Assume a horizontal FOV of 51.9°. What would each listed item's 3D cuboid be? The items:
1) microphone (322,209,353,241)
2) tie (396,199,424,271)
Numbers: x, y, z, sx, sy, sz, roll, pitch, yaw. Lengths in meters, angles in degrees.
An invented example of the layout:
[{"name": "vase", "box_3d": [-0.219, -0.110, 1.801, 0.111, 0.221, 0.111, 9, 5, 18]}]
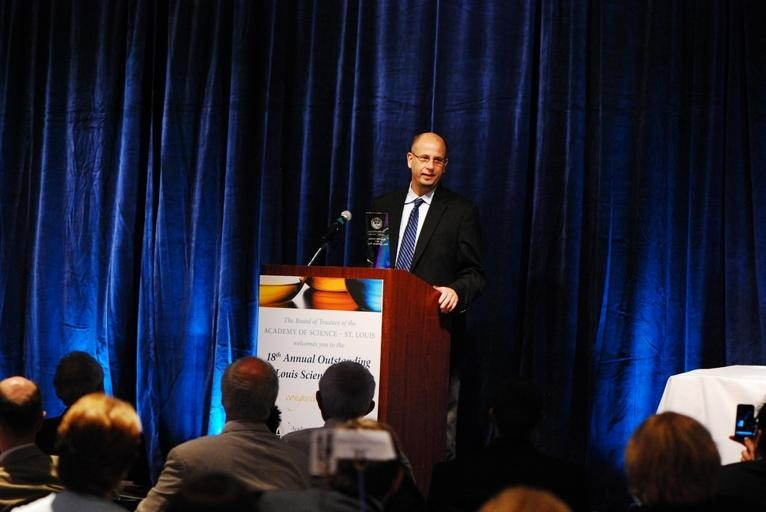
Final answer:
[{"name": "microphone", "box_3d": [-0.218, -0.146, 3.854, 0.109, 0.174, 0.220, 3, -6, 6]}, {"name": "tie", "box_3d": [0.160, -0.104, 4.329, 0.077, 0.458, 0.060, 15, -22, 5]}]
